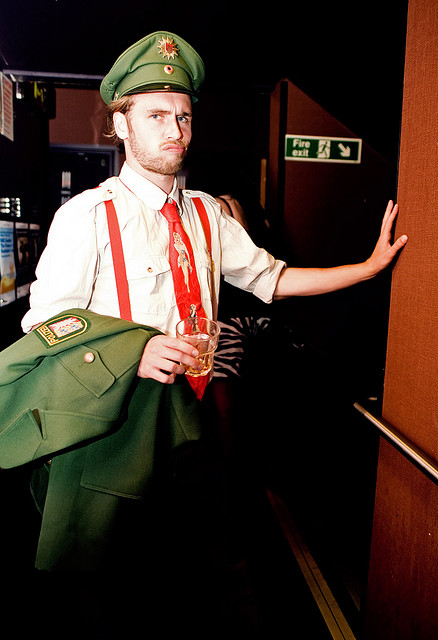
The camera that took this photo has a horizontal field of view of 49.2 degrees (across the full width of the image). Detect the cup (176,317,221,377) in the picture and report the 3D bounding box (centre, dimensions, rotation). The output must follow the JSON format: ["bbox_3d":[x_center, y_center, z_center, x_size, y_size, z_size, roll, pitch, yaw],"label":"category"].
[{"bbox_3d":[-0.040,0.070,1.101,0.112,0.147,0.123,1,21,-1],"label":"cup"}]

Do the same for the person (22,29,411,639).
[{"bbox_3d":[-0.071,0.153,1.299,0.853,1.800,0.624,-1,10,-26],"label":"person"}]

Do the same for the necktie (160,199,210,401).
[{"bbox_3d":[-0.084,-0.075,1.255,0.111,0.602,0.044,3,-22,-37],"label":"necktie"}]

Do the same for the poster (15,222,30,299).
[{"bbox_3d":[-1.053,-0.330,2.582,0.038,0.389,0.268,1,10,-15],"label":"poster"}]

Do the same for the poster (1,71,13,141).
[{"bbox_3d":[-1.062,-1.073,2.413,0.048,0.317,0.395,-1,11,-23],"label":"poster"}]

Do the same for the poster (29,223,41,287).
[{"bbox_3d":[-1.075,-0.404,2.815,0.060,0.329,0.304,0,10,-20],"label":"poster"}]
